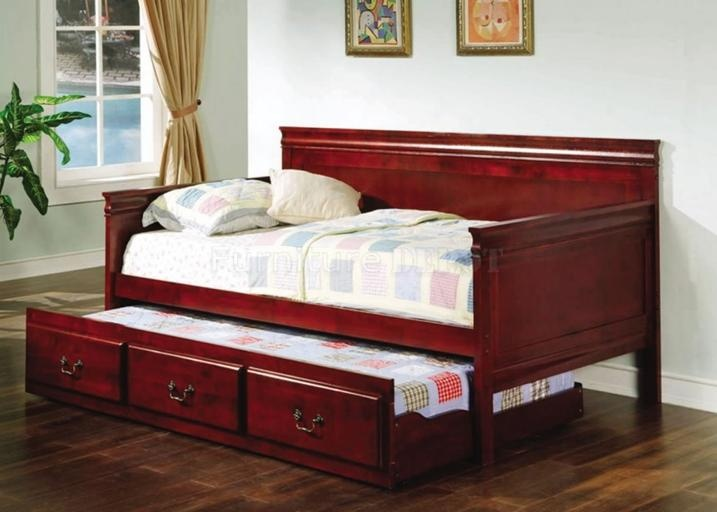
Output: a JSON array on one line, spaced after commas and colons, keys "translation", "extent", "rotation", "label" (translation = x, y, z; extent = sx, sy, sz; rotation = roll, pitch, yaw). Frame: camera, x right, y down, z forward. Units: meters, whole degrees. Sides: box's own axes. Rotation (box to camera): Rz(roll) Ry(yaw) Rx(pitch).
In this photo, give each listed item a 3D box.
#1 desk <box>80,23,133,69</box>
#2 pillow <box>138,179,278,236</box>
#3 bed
[{"translation": [-4.898, -4.365, 13.516], "extent": [1.051, 0.469, 0.563], "rotation": [-1, 9, 5], "label": "desk"}, {"translation": [-0.765, -0.274, 3.721], "extent": [0.449, 0.129, 0.409], "rotation": [-12, 22, -29], "label": "pillow"}, {"translation": [0.037, 0.225, 3.009], "extent": [1.570, 0.809, 1.157], "rotation": [5, 7, 38], "label": "bed"}]
